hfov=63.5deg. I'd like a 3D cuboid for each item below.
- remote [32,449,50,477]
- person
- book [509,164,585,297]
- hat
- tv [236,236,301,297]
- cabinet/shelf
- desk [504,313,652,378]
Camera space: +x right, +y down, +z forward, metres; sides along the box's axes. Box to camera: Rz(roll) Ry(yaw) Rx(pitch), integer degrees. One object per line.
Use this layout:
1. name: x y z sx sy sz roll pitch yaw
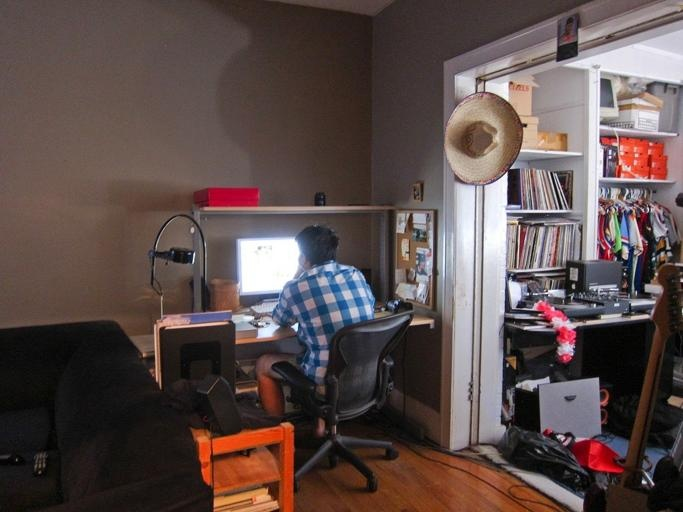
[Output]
1. remote: -1.323 0.915 2.433 0.048 0.017 0.154 0 21 -11
2. person: -0.149 0.482 3.566 0.812 1.361 0.845 -2 3 11
3. book: 1.536 -0.206 4.306 0.818 0.944 0.410 -5 4 -45
4. hat: 0.802 -0.679 3.162 0.119 0.511 0.474 -5 4 -42
5. tv: -0.498 0.067 3.721 0.367 0.471 0.043 -4 6 -22
6. cabinet/shelf: 1.976 -0.772 4.406 1.752 1.748 0.588 -3 8 -29
7. desk: 1.707 0.664 4.229 0.981 0.578 0.648 1 -4 -18
